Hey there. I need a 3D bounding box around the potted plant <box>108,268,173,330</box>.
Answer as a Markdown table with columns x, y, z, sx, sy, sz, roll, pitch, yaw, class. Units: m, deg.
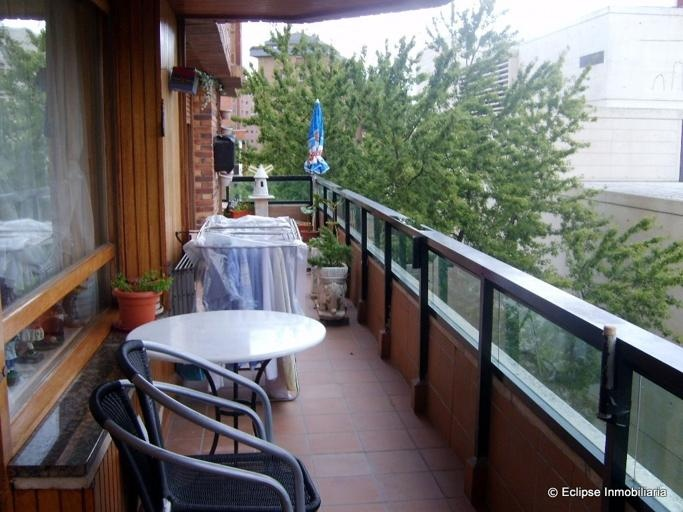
| x | y | z | sx | sy | sz | roll | pitch | yaw | class |
| --- | --- | --- | --- | --- | --- | --- | --- | --- | --- |
| -1.213 | 0.233 | 3.164 | 0.349 | 0.368 | 0.345 | 1 | 1 | 40 | potted plant |
